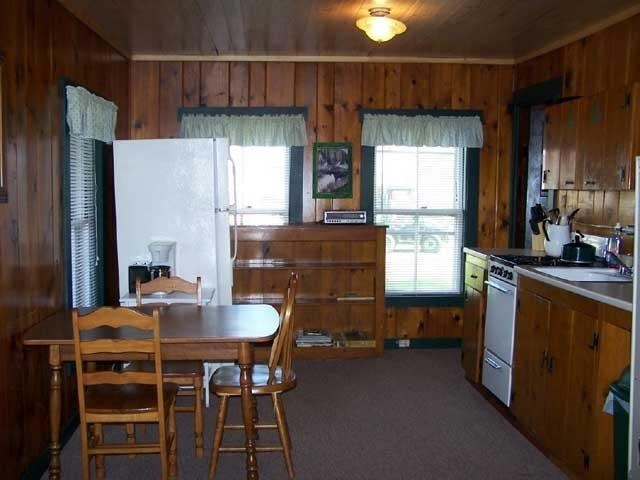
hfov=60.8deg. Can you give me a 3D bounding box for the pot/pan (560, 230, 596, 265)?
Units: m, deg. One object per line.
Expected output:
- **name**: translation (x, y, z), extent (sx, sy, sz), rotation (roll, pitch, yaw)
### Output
- **pot/pan**: translation (2.086, 0.061, 4.390), extent (0.205, 0.232, 0.217), rotation (1, 0, -4)

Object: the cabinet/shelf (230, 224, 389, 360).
- **cabinet/shelf**: translation (-0.133, 0.448, 5.278), extent (1.274, 1.218, 0.426), rotation (0, 1, -3)

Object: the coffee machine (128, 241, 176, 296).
- **coffee machine**: translation (-1.422, 0.203, 4.646), extent (0.471, 0.539, 0.316), rotation (2, 0, -1)

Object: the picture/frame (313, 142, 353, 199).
- **picture/frame**: translation (0.107, -0.744, 5.645), extent (0.523, 0.686, 0.046), rotation (0, 5, -4)
